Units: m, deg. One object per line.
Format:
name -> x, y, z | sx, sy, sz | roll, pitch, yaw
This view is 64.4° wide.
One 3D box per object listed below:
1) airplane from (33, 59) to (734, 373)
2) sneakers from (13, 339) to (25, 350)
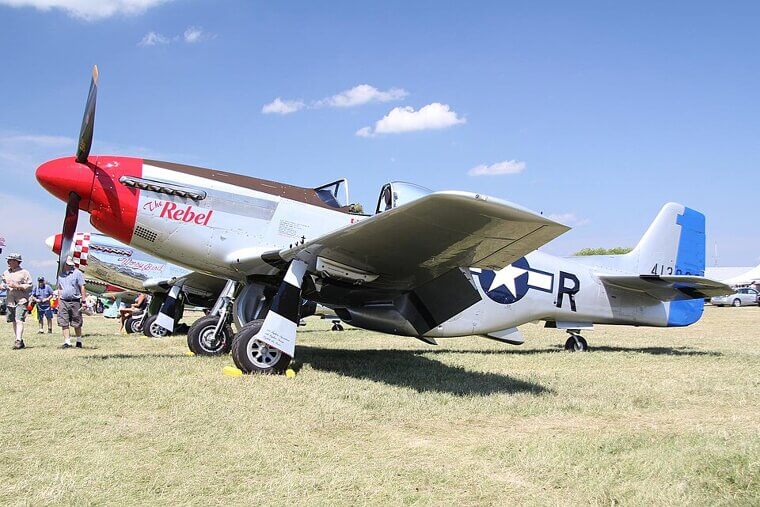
airplane -> 0.449, 0.184, 9.667 | 7.418, 2.399, 7.486 | 9, -7, -21
sneakers -> -6.876, 1.760, 11.482 | 0.136, 0.131, 0.315 | 2, -18, -17
